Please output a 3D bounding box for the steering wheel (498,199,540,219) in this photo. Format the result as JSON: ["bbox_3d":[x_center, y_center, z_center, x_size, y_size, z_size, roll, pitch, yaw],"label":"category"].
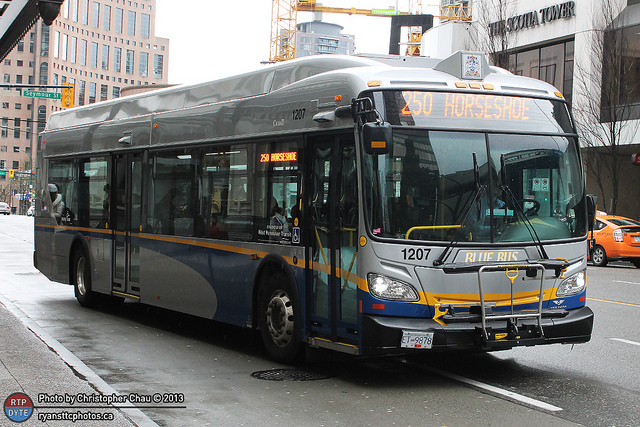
[{"bbox_3d":[2.728,-0.119,7.166,0.381,0.148,0.318,-29,18,-33],"label":"steering wheel"}]
